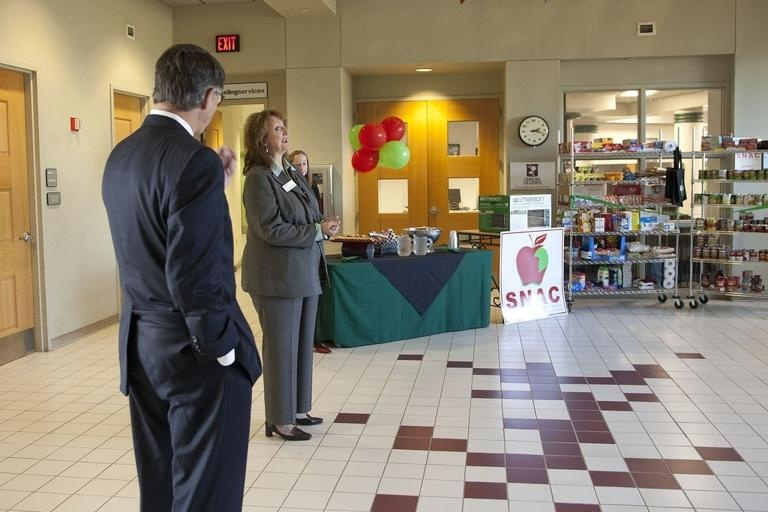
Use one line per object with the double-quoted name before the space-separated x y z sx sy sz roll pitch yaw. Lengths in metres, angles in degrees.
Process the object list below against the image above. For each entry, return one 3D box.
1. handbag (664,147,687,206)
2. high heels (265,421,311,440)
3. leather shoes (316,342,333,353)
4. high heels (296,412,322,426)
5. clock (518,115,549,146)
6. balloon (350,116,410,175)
"handbag" 3.887 -1.059 7.624 0.254 0.799 0.341 5 12 33
"high heels" -0.723 1.280 4.252 0.285 0.107 0.143 0 1 0
"leather shoes" -0.637 0.974 5.996 0.068 0.093 0.220 2 -8 -38
"high heels" -0.586 1.265 4.438 0.220 0.090 0.078 0 0 -6
"clock" 2.241 -1.891 8.523 0.456 0.429 0.047 0 9 1
"balloon" -0.098 -1.365 6.970 0.519 0.649 0.740 -8 12 -35
